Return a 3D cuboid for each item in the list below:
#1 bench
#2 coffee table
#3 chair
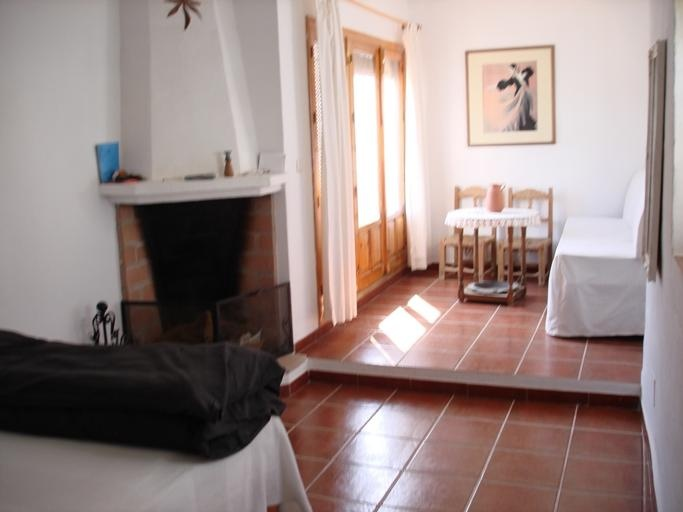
[{"bbox_3d":[2.374,-0.013,4.835,0.532,0.797,1.435,3,16,20],"label":"bench"},{"bbox_3d":[1.582,-0.099,5.581,0.921,0.908,0.978,3,12,24],"label":"coffee table"},{"bbox_3d":[1.833,-0.221,6.066,1.028,1.084,0.563,3,7,28],"label":"chair"}]
